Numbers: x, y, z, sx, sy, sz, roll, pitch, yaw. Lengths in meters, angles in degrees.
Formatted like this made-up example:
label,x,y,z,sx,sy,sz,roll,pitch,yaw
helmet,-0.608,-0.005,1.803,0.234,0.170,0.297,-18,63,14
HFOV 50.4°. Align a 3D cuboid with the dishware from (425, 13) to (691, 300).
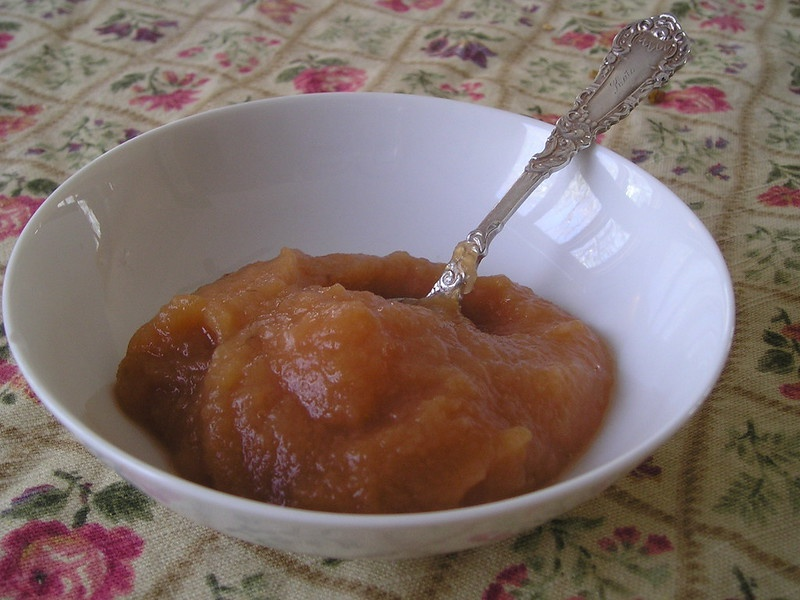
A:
label,x,y,z,sx,sy,sz,roll,pitch,yaw
dishware,0.373,-0.322,2.013,0.153,0.087,1.067,40,82,15
